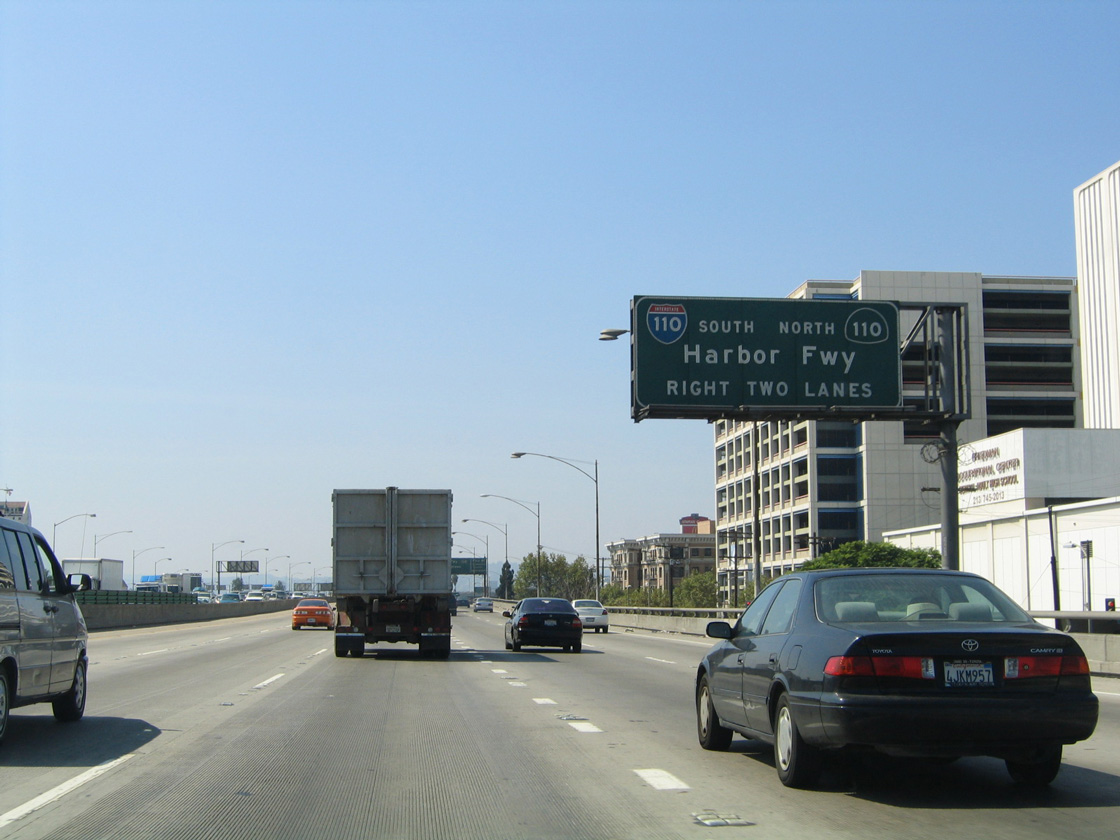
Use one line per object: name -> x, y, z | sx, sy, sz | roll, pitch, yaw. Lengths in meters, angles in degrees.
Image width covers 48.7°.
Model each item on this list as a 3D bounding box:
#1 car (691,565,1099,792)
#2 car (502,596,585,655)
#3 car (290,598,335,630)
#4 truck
car -> 2.790, 2.342, 11.391 | 1.924, 1.957, 3.516 | 5, -10, -38
car -> -0.540, 5.917, 35.846 | 1.827, 1.538, 2.401 | 3, -9, -28
car -> -10.710, 8.685, 54.285 | 1.379, 1.061, 3.073 | 1, -2, -4
truck -> -4.041, 3.752, 32.666 | 3.303, 4.316, 6.669 | 0, -1, -3
